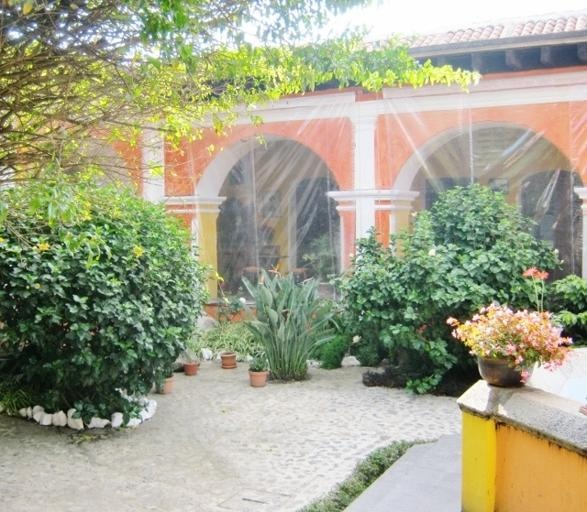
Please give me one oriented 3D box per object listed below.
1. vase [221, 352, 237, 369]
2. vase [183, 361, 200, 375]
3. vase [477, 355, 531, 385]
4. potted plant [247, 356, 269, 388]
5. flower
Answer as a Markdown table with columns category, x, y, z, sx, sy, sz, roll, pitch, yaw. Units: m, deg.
| category | x | y | z | sx | sy | sz | roll | pitch | yaw |
| --- | --- | --- | --- | --- | --- | --- | --- | --- | --- |
| vase | -0.910 | 1.443 | 7.679 | 0.219 | 0.203 | 0.336 | -1 | 3 | -8 |
| vase | -1.361 | 1.475 | 7.233 | 0.165 | 0.126 | 0.169 | 0 | -7 | -9 |
| vase | 1.299 | 0.721 | 3.432 | 0.196 | 0.116 | 0.208 | 4 | -5 | -45 |
| potted plant | -0.439 | 1.415 | 6.659 | 0.289 | 0.421 | 0.294 | 2 | -6 | -15 |
| flower | 1.380 | 0.596 | 3.488 | 0.696 | 0.502 | 0.417 | 1 | 3 | 27 |
